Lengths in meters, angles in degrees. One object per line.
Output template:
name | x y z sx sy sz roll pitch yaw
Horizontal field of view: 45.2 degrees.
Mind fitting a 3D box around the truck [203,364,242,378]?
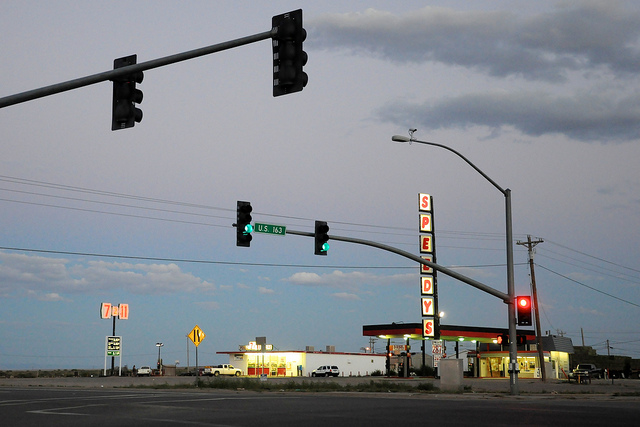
truck | -13.192 21.137 103.612 4.722 1.788 7.423 -2 -15 2

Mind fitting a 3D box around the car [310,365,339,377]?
car | 0.300 19.867 97.047 2.917 1.294 1.719 0 -5 28

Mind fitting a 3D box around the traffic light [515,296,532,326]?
traffic light | 12.831 6.120 48.305 0.968 1.867 1.255 -5 -15 14

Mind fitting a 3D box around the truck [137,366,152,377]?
truck | -23.837 21.360 104.554 1.929 0.987 1.642 4 -16 -20
